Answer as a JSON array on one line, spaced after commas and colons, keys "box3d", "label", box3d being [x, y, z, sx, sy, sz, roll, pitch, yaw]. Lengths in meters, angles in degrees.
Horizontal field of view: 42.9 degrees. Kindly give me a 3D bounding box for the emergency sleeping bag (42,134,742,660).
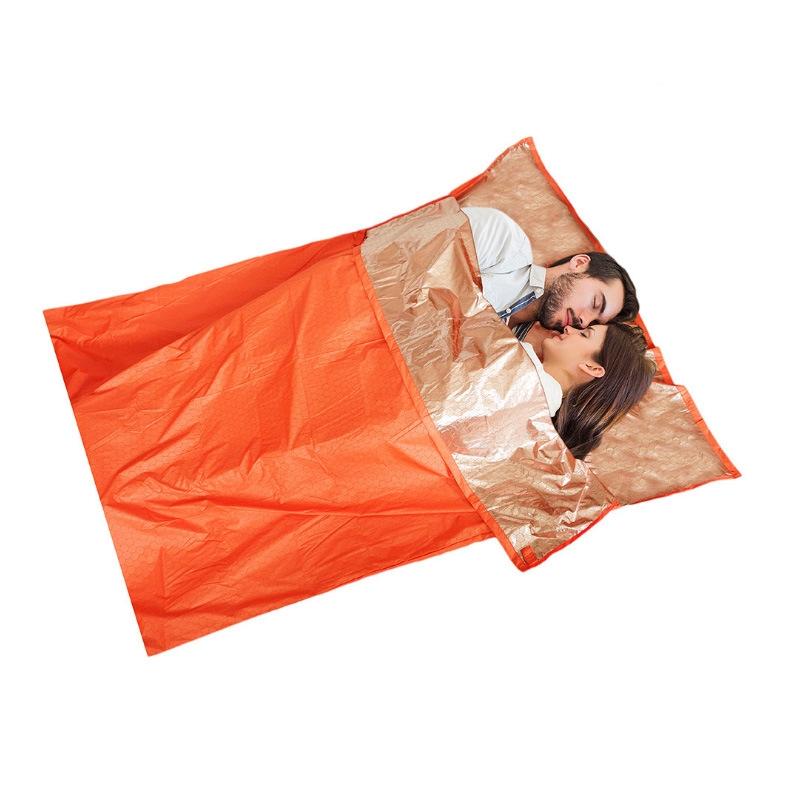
[{"box3d": [0.075, 0.000, 2.845, 2.284, 1.134, 0.523, -21, -24, 33], "label": "emergency sleeping bag"}]
